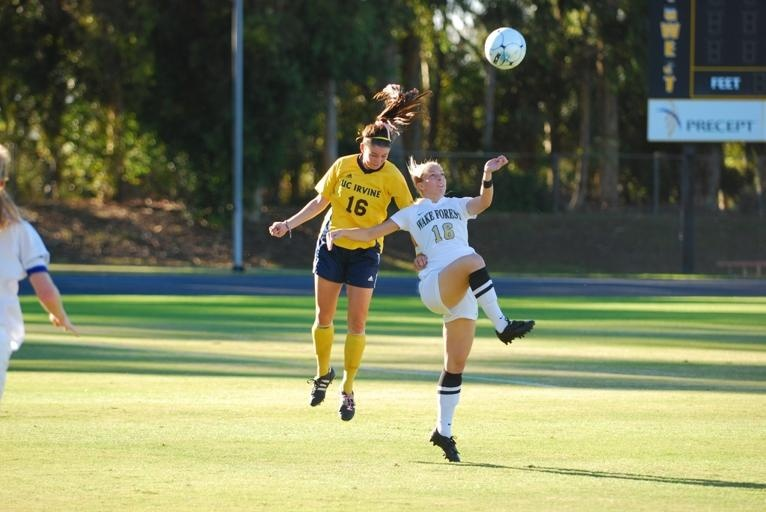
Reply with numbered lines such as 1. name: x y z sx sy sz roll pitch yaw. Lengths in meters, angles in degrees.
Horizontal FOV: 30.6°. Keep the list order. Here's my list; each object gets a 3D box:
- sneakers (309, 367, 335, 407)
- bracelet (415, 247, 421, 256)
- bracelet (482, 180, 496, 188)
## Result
1. sneakers: -0.907 1.928 20.567 0.272 0.628 0.227 34 -21 -33
2. bracelet: 0.527 -0.076 19.610 0.025 0.100 0.100 -24 37 -20
3. bracelet: 1.493 -1.003 19.665 0.147 0.109 0.143 -3 4 -20
